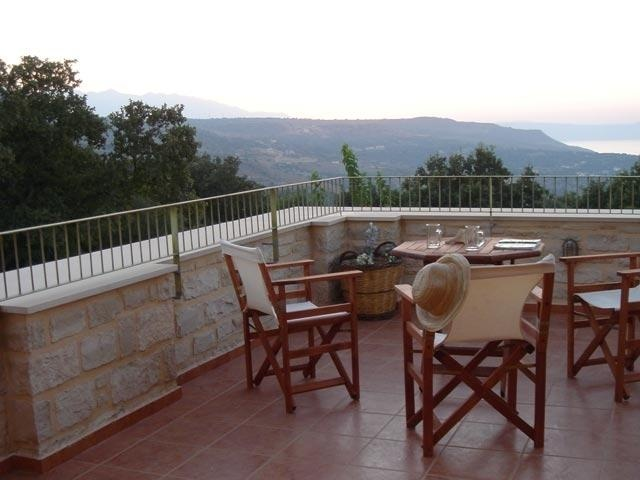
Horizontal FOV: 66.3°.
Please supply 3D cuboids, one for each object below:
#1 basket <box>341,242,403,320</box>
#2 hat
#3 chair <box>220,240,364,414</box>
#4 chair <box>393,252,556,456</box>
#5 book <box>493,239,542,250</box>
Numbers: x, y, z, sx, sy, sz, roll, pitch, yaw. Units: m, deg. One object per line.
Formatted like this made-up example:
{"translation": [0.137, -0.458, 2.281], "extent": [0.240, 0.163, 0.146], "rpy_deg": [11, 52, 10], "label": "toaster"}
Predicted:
{"translation": [0.635, 0.504, 6.266], "extent": [0.753, 0.891, 0.883], "rpy_deg": [-3, -1, -12], "label": "basket"}
{"translation": [0.709, 0.289, 2.881], "extent": [0.138, 0.440, 0.392], "rpy_deg": [14, -12, -32], "label": "hat"}
{"translation": [-0.264, 0.651, 4.081], "extent": [0.863, 1.282, 0.892], "rpy_deg": [-5, 5, -33], "label": "chair"}
{"translation": [1.002, 0.696, 3.339], "extent": [0.857, 1.234, 0.818], "rpy_deg": [-2, 1, 0], "label": "chair"}
{"translation": [1.874, 0.036, 4.602], "extent": [0.276, 0.032, 0.200], "rpy_deg": [-10, 13, -40], "label": "book"}
